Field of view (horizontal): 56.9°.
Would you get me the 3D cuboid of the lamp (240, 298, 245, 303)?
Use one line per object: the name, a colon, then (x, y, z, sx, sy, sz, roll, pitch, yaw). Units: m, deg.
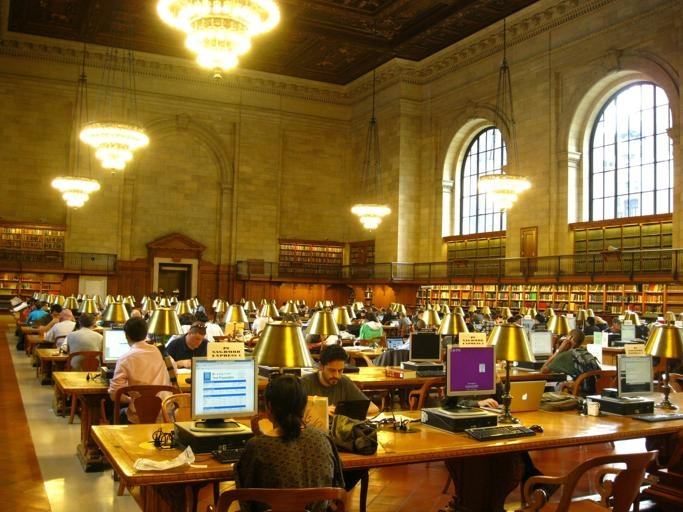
lamp: (-2.952, 1.319, 18.937, 0.117, 0.154, 0.118, 3, -7, -19)

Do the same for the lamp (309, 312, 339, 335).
lamp: (-0.180, 0.670, 6.457, 0.245, 0.158, 0.245, -1, 2, -23)

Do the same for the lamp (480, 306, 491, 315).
lamp: (3.396, 1.261, 14.848, 0.258, 0.179, 0.294, 1, 2, 31)

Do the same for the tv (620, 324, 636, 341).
tv: (4.560, 1.209, 10.042, 0.243, 0.291, 0.038, 1, -3, -9)

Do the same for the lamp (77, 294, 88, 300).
lamp: (-5.561, 0.867, 13.595, 0.188, 0.096, 0.195, 1, -5, -1)

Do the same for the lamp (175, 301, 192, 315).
lamp: (-2.132, 0.692, 8.513, 0.265, 0.256, 0.271, 1, -9, -13)

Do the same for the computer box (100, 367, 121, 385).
computer box: (-2.225, 1.128, 6.057, 0.213, 0.137, 0.212, 1, 3, -14)

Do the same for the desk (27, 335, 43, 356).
desk: (-5.118, 1.484, 10.586, 0.307, 0.242, 0.487, 3, -6, -21)

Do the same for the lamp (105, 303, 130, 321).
lamp: (-2.717, 0.674, 7.653, 0.243, 0.234, 0.244, -1, 0, -20)

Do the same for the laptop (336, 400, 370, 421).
laptop: (0.085, 1.058, 4.397, 0.205, 0.149, 0.149, 5, 14, -27)

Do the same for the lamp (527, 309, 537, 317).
lamp: (3.955, 1.172, 13.141, 0.151, 0.149, 0.155, -1, 0, -7)

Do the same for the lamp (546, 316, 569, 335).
lamp: (2.817, 0.880, 8.216, 0.239, 0.250, 0.250, -2, 0, 31)

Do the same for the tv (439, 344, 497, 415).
tv: (0.913, 0.861, 4.786, 0.553, 0.575, 0.445, 1, -4, -16)

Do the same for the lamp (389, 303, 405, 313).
lamp: (1.068, 0.956, 12.207, 0.234, 0.276, 0.285, 0, -9, 7)

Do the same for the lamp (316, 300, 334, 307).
lamp: (-0.426, 1.226, 16.486, 0.295, 0.081, 0.291, 5, -10, -32)

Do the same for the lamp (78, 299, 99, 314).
lamp: (-3.433, 0.680, 8.573, 0.219, 0.150, 0.252, 1, -7, -11)

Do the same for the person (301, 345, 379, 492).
person: (-0.036, 1.314, 4.805, 0.601, 1.249, 0.641, 3, 0, -23)

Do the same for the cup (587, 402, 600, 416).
cup: (2.000, 1.209, 5.010, 0.052, 0.095, 0.097, 0, 1, -29)

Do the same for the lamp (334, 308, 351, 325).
lamp: (-0.032, 0.770, 8.141, 0.219, 0.146, 0.203, -1, -3, 39)

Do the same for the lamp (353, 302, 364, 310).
lamp: (0.375, 1.106, 14.163, 0.314, 0.126, 0.327, 0, -1, 6)

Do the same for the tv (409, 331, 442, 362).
tv: (0.930, 1.001, 7.003, 0.313, 0.285, 0.052, 1, -8, -10)

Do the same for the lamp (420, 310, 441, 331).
lamp: (1.266, 0.844, 8.474, 0.333, 0.351, 0.355, 1, -7, -7)

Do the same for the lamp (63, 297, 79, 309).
lamp: (-4.909, 0.852, 11.488, 0.259, 0.250, 0.262, 2, -10, -20)

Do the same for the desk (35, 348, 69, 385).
desk: (-3.822, 1.458, 8.367, 0.442, 0.348, 0.694, 1, 2, -23)

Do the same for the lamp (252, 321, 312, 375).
lamp: (-0.384, 0.589, 4.145, 0.320, 0.331, 0.330, -1, 1, 1)

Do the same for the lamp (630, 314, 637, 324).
lamp: (5.084, 1.074, 10.945, 0.151, 0.167, 0.156, -1, -6, -5)

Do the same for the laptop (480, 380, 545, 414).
laptop: (1.442, 1.113, 5.154, 0.340, 0.217, 0.314, 3, -7, -16)
